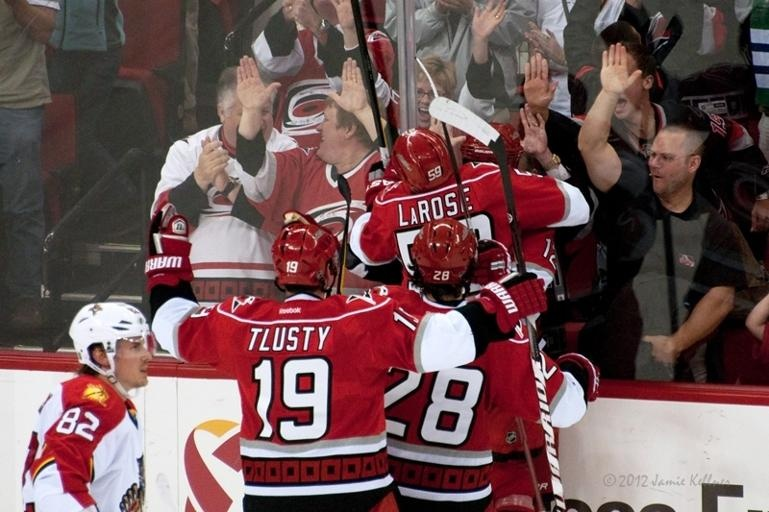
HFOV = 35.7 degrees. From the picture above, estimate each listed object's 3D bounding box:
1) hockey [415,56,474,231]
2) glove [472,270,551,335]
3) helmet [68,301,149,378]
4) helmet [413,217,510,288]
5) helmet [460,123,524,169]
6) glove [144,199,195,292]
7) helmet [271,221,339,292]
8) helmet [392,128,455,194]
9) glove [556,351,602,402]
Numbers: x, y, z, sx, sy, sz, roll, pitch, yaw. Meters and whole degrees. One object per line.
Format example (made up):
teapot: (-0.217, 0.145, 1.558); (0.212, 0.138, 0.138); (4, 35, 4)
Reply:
hockey: (0.348, -0.611, 6.778); (0.095, 1.196, 0.185); (-2, 26, 34)
glove: (0.642, 0.240, 6.073); (0.341, 0.288, 0.182); (-12, 18, -24)
helmet: (-1.554, 0.470, 6.691); (0.469, 0.422, 0.358); (-2, 4, -6)
helmet: (0.409, 0.002, 6.473); (0.357, 0.322, 0.484); (-10, -19, 33)
helmet: (0.648, -0.646, 7.100); (0.257, 0.324, 0.319); (-3, 23, 5)
glove: (-1.185, -0.054, 6.488); (0.253, 0.430, 0.208); (-7, 17, -10)
helmet: (-0.378, -0.015, 6.334); (0.287, 0.343, 0.377); (2, 26, 6)
helmet: (0.213, -0.507, 6.673); (0.288, 0.332, 0.357); (-19, 39, -9)
glove: (1.088, 0.645, 6.641); (0.159, 0.328, 0.144); (-16, 6, 35)
